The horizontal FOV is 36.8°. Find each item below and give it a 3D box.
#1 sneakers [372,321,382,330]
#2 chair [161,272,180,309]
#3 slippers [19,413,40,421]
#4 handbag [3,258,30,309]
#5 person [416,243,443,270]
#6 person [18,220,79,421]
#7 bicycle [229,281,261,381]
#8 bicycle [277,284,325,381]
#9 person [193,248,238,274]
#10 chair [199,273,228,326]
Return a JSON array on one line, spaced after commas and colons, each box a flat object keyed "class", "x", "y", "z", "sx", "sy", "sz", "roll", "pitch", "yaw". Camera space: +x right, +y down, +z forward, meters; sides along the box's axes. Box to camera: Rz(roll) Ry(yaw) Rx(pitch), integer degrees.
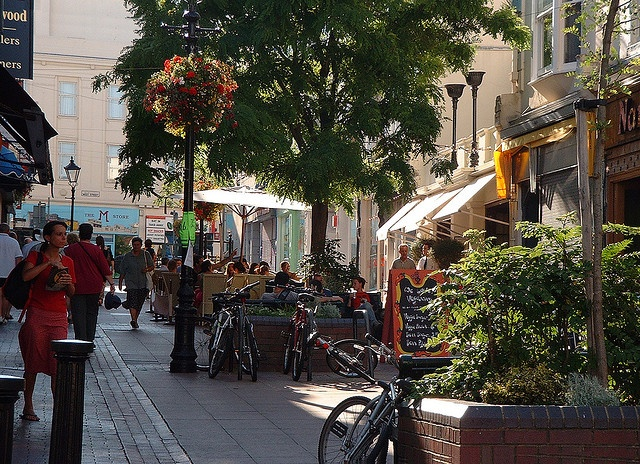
[{"class": "sneakers", "x": 1.039, "y": 1.685, "z": 17.180, "sx": 0.162, "sy": 0.099, "sz": 0.161, "roll": 1, "pitch": -2, "yaw": -28}, {"class": "chair", "x": -3.737, "y": 1.483, "z": 23.784, "sx": 0.400, "sy": 0.949, "sz": 0.702, "roll": 3, "pitch": -6, "yaw": -9}, {"class": "slippers", "x": -3.405, "y": 2.152, "z": 11.230, "sx": 0.184, "sy": 0.049, "sz": 0.081, "roll": 1, "pitch": 1, "yaw": 13}, {"class": "handbag", "x": -3.567, "y": 0.616, "z": 11.267, "sx": 0.290, "sy": 0.566, "sz": 0.393, "roll": 4, "pitch": -6, "yaw": -22}, {"class": "person", "x": 2.484, "y": 0.561, "z": 21.431, "sx": 0.469, "sy": 0.754, "sz": 0.290, "roll": -4, "pitch": -11, "yaw": 26}, {"class": "person", "x": -3.237, "y": 1.032, "z": 11.248, "sx": 0.599, "sy": 2.337, "sz": 0.684, "roll": 3, "pitch": -6, "yaw": -10}, {"class": "bicycle", "x": -1.203, "y": 1.594, "z": 15.461, "sx": 0.448, "sy": 1.542, "sz": 1.085, "roll": 2, "pitch": -6, "yaw": -5}, {"class": "bicycle", "x": -0.263, "y": 1.677, "z": 15.535, "sx": 0.619, "sy": 1.410, "sz": 1.450, "roll": 2, "pitch": -6, "yaw": -2}, {"class": "person", "x": -2.451, "y": 0.833, "z": 25.883, "sx": 1.880, "sy": 0.584, "sz": 0.538, "roll": -7, "pitch": 0, "yaw": -5}, {"class": "chair", "x": -2.572, "y": 1.602, "z": 23.462, "sx": 0.619, "sy": 1.266, "sz": 0.734, "roll": 2, "pitch": 9, "yaw": -2}]
